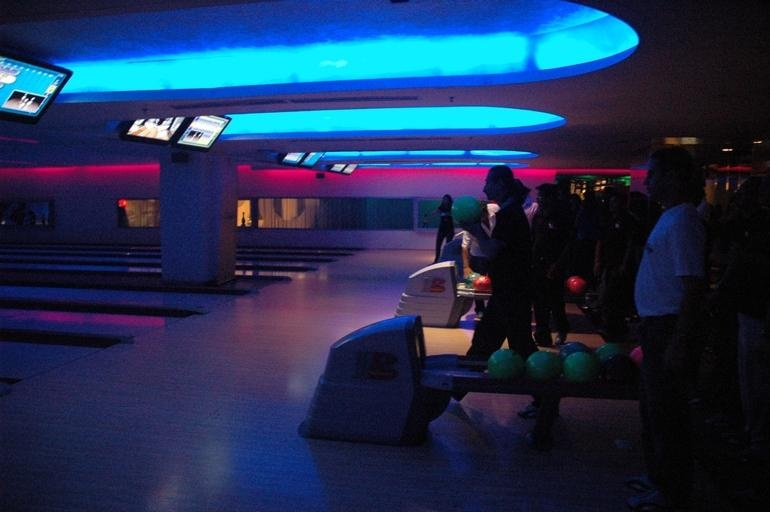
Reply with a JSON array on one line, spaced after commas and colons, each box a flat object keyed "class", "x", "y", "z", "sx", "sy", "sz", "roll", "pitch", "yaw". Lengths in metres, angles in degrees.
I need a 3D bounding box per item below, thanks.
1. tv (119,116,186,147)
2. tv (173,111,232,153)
[{"class": "tv", "x": -2.728, "y": -1.491, "z": 6.198, "sx": 0.378, "sy": 0.037, "sz": 0.540, "roll": -42, "pitch": -16, "yaw": 31}, {"class": "tv", "x": -2.310, "y": -1.581, "z": 6.617, "sx": 0.595, "sy": 0.102, "sz": 0.818, "roll": -41, "pitch": -18, "yaw": 15}]
